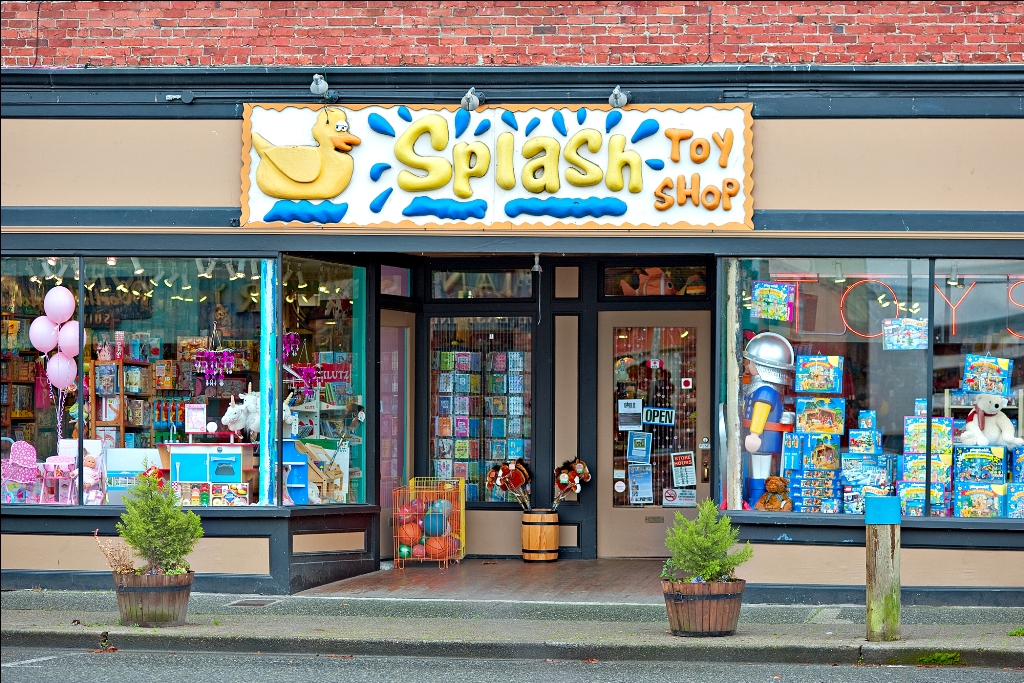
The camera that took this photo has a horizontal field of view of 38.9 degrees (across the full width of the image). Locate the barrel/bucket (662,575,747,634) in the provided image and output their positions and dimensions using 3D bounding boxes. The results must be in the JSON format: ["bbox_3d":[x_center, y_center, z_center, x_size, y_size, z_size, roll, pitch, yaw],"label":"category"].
[{"bbox_3d":[2.117,2.930,15.968,0.869,0.611,0.235,0,5,-2],"label":"barrel/bucket"}]

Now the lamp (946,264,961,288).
[{"bbox_3d":[5.513,-0.828,18.079,0.198,0.301,0.047,-1,4,-8],"label":"lamp"}]

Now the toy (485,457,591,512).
[{"bbox_3d":[0.365,1.990,20.349,1.493,0.712,0.324,1,5,10],"label":"toy"}]

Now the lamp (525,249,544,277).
[{"bbox_3d":[0.345,-1.057,20.126,0.243,0.340,0.237,-1,1,-40],"label":"lamp"}]

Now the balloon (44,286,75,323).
[{"bbox_3d":[-5.862,-0.483,19.051,0.440,0.561,0.449,1,2,-8],"label":"balloon"}]

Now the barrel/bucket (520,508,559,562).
[{"bbox_3d":[0.414,2.739,20.309,0.587,0.659,0.587,1,-5,0],"label":"barrel/bucket"}]

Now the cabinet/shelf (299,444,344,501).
[{"bbox_3d":[-2.543,1.682,19.120,0.553,0.936,0.551,12,-14,-28],"label":"cabinet/shelf"}]

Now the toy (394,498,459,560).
[{"bbox_3d":[-1.190,2.625,20.081,1.008,1.035,0.735,0,-1,6],"label":"toy"}]

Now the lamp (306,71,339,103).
[{"bbox_3d":[-2.391,-3.181,18.320,0.274,0.369,0.183,8,-39,-26],"label":"lamp"}]

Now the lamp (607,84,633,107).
[{"bbox_3d":[1.340,-3.077,18.172,0.263,0.263,0.147,0,5,2],"label":"lamp"}]

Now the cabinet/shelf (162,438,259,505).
[{"bbox_3d":[-3.821,1.716,18.959,0.842,0.972,0.828,0,-4,5],"label":"cabinet/shelf"}]

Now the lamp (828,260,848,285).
[{"bbox_3d":[4.093,-0.878,18.185,0.234,0.341,0.241,0,-3,6],"label":"lamp"}]

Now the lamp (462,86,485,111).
[{"bbox_3d":[-0.499,-3.070,18.316,0.254,0.304,0.118,0,5,-2],"label":"lamp"}]

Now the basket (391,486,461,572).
[{"bbox_3d":[-1.129,2.537,20.055,0.679,1.225,1.121,0,0,7],"label":"basket"}]

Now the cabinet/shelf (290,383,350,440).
[{"bbox_3d":[-2.513,0.939,19.024,0.666,0.676,0.671,-1,3,-18],"label":"cabinet/shelf"}]

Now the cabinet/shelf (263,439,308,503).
[{"bbox_3d":[-2.799,1.677,18.550,0.633,1.024,0.641,-1,-2,7],"label":"cabinet/shelf"}]
